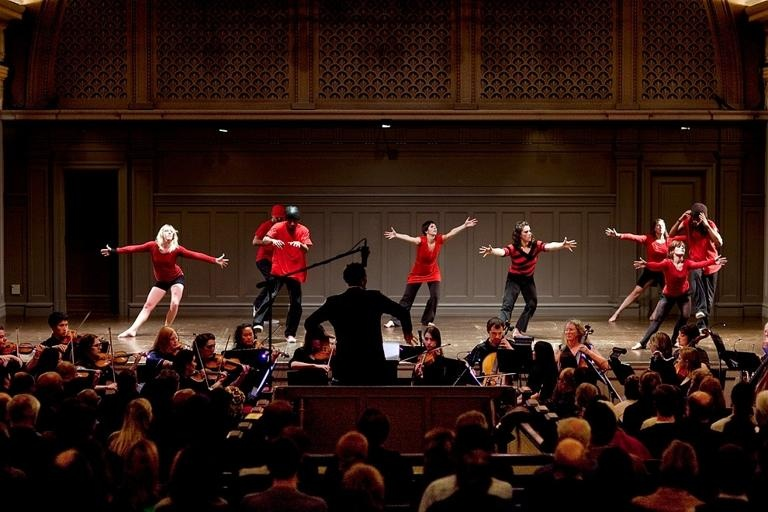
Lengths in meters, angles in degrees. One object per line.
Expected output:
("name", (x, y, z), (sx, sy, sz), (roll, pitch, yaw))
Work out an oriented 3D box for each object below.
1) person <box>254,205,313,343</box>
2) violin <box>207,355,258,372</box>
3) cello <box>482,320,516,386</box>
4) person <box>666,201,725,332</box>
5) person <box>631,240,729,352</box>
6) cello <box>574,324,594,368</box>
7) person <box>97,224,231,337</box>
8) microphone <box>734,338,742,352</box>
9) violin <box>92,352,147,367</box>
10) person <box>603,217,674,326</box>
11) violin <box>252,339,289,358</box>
("person", (-1.595, 0.098, 11.223), (0.796, 2.524, 0.699), (1, 5, 6))
("violin", (-1.883, 1.325, 8.603), (0.526, 0.092, 0.206), (9, 13, -13))
("cello", (1.396, 1.221, 8.717), (0.387, 0.769, 0.421), (5, 4, -34))
("person", (5.371, 0.086, 12.084), (0.981, 2.365, 0.790), (0, 1, -2))
("person", (4.435, 0.624, 10.766), (1.433, 1.596, 0.744), (1, 4, 6))
("cello", (2.543, 1.178, 8.969), (0.169, 0.548, 0.264), (10, -3, -28))
("person", (-3.593, 0.434, 11.394), (1.342, 1.860, 0.898), (0, -2, 42))
("microphone", (5.425, 1.382, 10.753), (0.104, 0.087, 0.267), (-10, 25, 31))
("violin", (-3.393, 1.332, 9.029), (0.638, 0.104, 0.265), (-2, 40, -11))
("person", (4.791, 0.043, 12.850), (0.931, 2.369, 1.101), (-2, 5, -25))
("violin", (-1.456, 1.264, 9.231), (0.529, 0.159, 0.279), (2, -1, -25))
